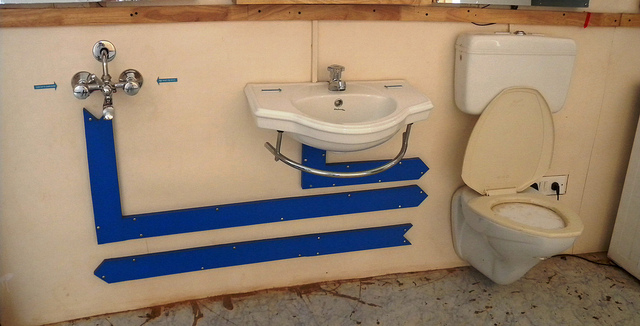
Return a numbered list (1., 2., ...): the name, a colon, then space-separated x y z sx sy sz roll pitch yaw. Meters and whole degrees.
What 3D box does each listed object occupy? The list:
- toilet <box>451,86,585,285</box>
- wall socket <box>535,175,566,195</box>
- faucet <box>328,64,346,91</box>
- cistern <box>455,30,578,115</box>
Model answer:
1. toilet: 1.354 0.204 3.269 0.724 1.375 0.594 -6 25 -6
2. wall socket: 1.748 0.159 3.608 0.263 0.142 0.056 -6 9 -8
3. faucet: 0.104 -0.558 3.092 0.171 0.147 0.139 -4 29 -5
4. cistern: 1.571 -0.607 3.380 0.529 0.561 0.900 1 10 -37
